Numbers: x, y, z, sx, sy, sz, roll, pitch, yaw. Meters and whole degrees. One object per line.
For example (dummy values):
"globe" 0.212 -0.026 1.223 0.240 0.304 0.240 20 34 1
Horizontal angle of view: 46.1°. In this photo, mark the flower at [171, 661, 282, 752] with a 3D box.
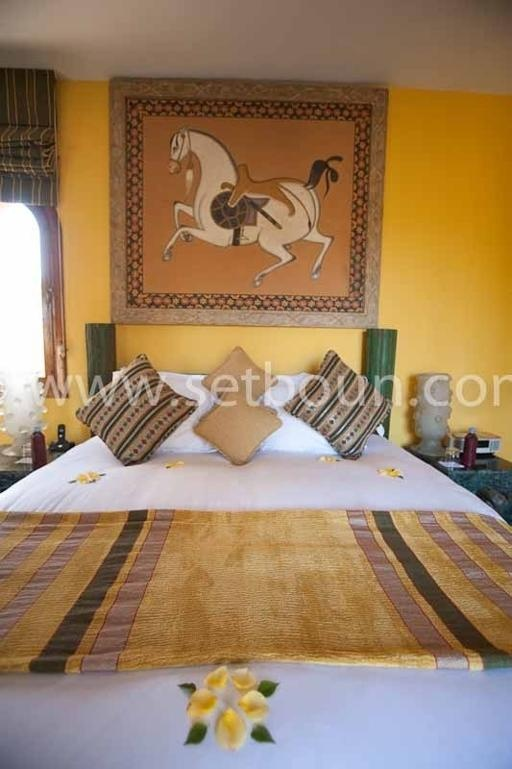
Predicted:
"flower" -0.049 0.579 1.091 0.179 0.068 0.136 0 13 -5

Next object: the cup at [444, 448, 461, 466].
"cup" 0.945 0.354 2.903 0.059 0.087 0.094 -1 -2 20
